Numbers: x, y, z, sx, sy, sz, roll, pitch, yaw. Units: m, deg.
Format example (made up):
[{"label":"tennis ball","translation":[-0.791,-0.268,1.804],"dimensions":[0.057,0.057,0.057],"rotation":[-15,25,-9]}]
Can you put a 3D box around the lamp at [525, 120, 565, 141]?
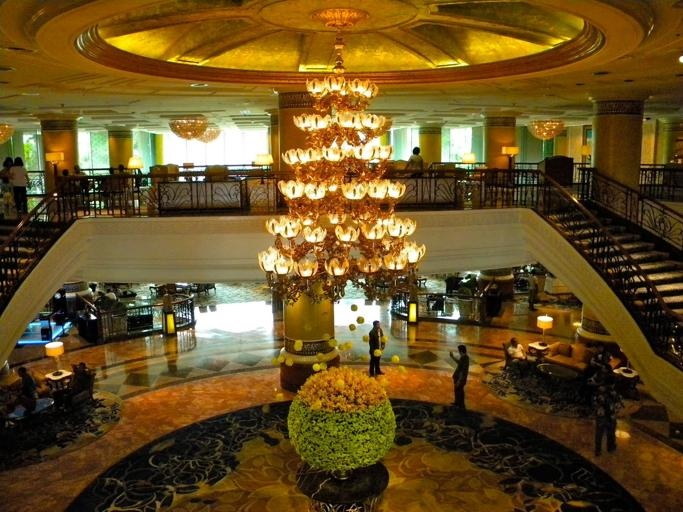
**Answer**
[{"label":"lamp","translation":[7.697,-4.701,16.555],"dimensions":[1.000,0.590,1.234],"rotation":[10,16,43]}]

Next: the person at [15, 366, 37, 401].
[{"label":"person","translation":[-6.776,2.729,9.654],"dimensions":[0.293,0.663,0.858],"rotation":[-12,16,-36]}]

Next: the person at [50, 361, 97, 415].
[{"label":"person","translation":[-6.081,3.020,10.107],"dimensions":[0.716,0.805,0.805],"rotation":[22,28,36]}]

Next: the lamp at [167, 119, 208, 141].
[{"label":"lamp","translation":[-5.406,-4.560,15.930],"dimensions":[1.154,0.493,0.998],"rotation":[-5,12,-17]}]
